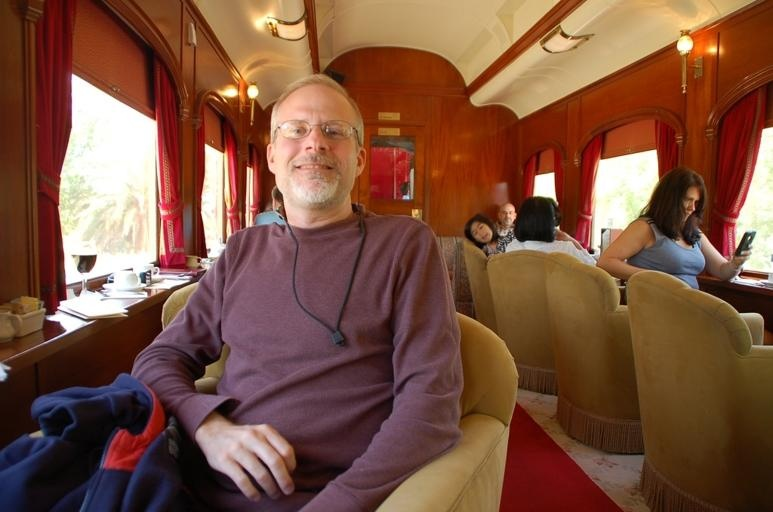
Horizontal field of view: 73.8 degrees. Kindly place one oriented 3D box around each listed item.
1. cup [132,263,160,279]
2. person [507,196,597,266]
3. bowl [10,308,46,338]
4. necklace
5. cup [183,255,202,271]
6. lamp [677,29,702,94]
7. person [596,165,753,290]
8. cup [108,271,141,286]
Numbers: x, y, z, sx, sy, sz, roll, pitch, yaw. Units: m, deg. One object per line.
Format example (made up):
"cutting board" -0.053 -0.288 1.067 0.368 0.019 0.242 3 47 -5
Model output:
"cup" -1.934 0.116 4.127 0.131 0.105 0.104 5 5 17
"person" 1.690 -0.258 5.091 0.740 0.683 0.406 6 22 33
"bowl" -1.907 0.349 2.726 0.137 0.107 0.194 0 1 -40
"necklace" -0.230 0.144 2.308 0.260 0.604 0.052 -6 -22 -2
"cup" -1.871 0.061 4.988 0.142 0.114 0.117 1 1 3
"lamp" 2.985 -1.915 5.062 0.239 0.594 0.662 7 14 28
"person" 2.158 0.020 3.920 0.839 1.364 0.648 6 -4 6
"cup" -1.824 0.144 3.567 0.132 0.106 0.106 4 -1 8
